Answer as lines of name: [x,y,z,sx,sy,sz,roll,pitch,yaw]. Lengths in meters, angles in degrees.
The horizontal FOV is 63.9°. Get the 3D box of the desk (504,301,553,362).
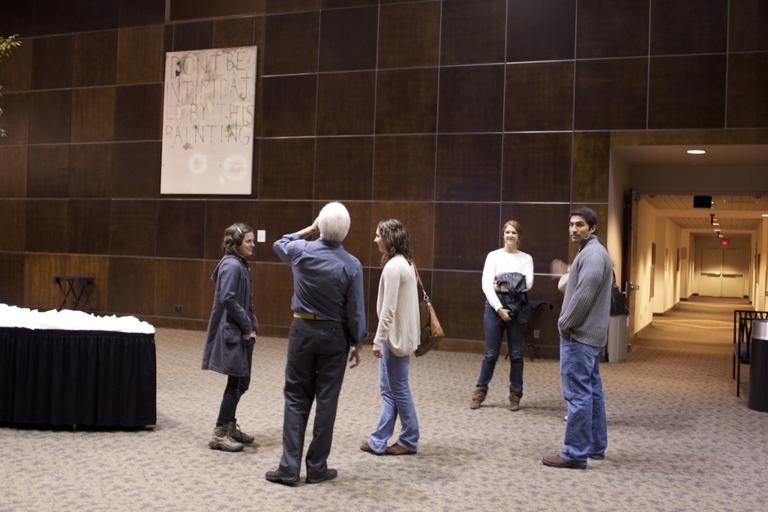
desk: [2.589,1.142,10.365,1.052,1.178,1.145,0,-9,7]

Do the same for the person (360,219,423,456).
person: [0.117,0.894,6.436,0.584,2.520,0.430,1,5,-5]

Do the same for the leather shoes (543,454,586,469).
leather shoes: [1.906,2.173,6.488,0.383,0.191,0.167,5,-9,13]

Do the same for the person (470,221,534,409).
person: [1.550,0.766,7.981,0.686,2.433,0.671,3,6,19]

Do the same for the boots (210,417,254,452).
boots: [-1.638,1.937,6.687,0.409,0.214,0.248,0,2,-17]

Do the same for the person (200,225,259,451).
person: [-1.653,0.872,6.620,0.559,2.419,0.476,0,5,-14]

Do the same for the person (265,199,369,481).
person: [-0.640,0.853,6.047,0.920,2.749,0.438,0,5,-12]

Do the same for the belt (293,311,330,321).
belt: [-0.712,0.567,5.928,0.403,0.086,0.095,4,6,24]

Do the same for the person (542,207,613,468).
person: [2.103,0.861,6.532,0.636,2.711,0.461,2,5,13]

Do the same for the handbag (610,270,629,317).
handbag: [3.883,0.618,10.126,0.263,0.804,0.751,-7,-14,19]
